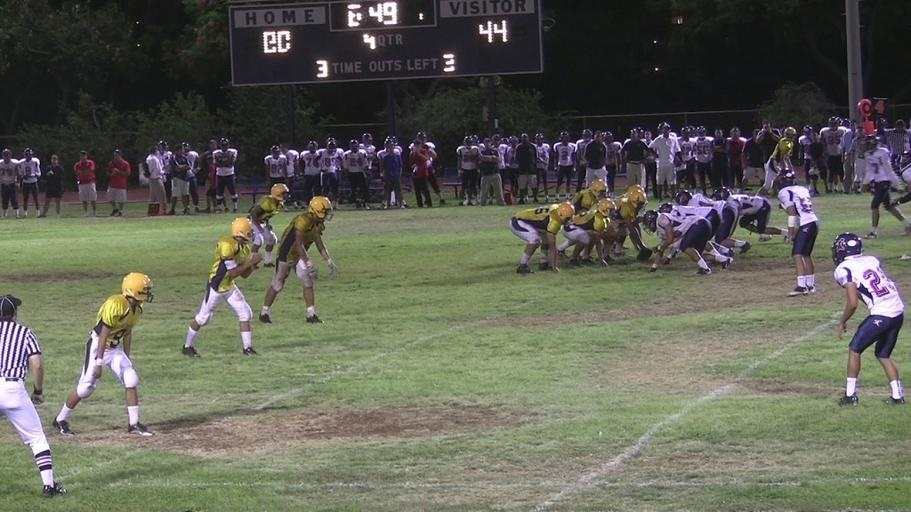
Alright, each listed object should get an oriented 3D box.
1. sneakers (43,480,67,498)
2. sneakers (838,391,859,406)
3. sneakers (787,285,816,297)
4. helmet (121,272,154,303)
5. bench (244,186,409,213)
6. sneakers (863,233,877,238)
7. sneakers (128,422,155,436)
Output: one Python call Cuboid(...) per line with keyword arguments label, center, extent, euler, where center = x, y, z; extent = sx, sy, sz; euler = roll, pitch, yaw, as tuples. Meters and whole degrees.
Cuboid(label="sneakers", center=(-8.115, 4.674, 26.193), extent=(0.224, 0.216, 0.560), euler=(8, 9, 37))
Cuboid(label="sneakers", center=(8.333, 3.033, 27.654), extent=(0.199, 0.190, 0.520), euler=(-4, 6, -43))
Cuboid(label="sneakers", center=(8.573, 0.858, 32.197), extent=(0.761, 0.242, 0.233), euler=(-1, 8, 0))
Cuboid(label="helmet", center=(-6.819, 0.652, 27.536), extent=(0.593, 0.602, 0.444), euler=(-4, 3, -9))
Cuboid(label="bench", center=(-4.307, -1.996, 45.285), extent=(5.269, 1.289, 1.256), euler=(-2, 17, 8))
Cuboid(label="sneakers", center=(11.619, -0.600, 36.357), extent=(0.419, 0.124, 0.124), euler=(1, 5, 7))
Cuboid(label="sneakers", center=(-6.754, 3.666, 27.619), extent=(0.593, 0.191, 0.236), euler=(2, 2, 10))
